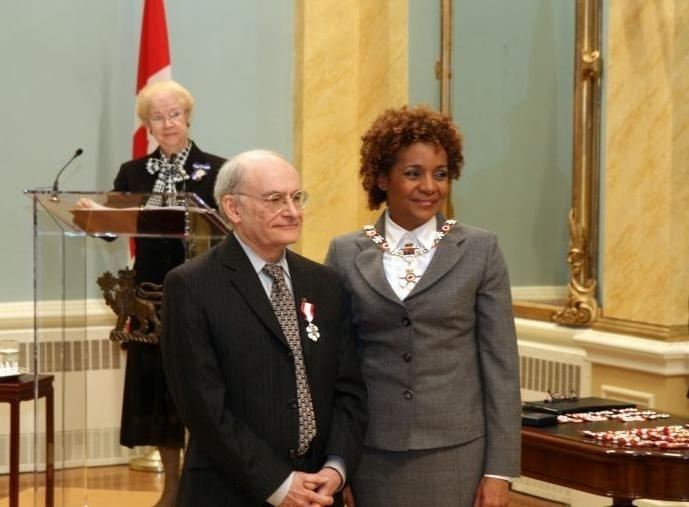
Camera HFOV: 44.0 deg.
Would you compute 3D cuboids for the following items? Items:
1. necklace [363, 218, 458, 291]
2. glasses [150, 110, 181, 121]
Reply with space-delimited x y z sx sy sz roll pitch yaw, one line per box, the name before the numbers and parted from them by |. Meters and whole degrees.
necklace | 0.258 0.010 3.216 0.262 0.247 0.033 -1 -28 4
glasses | -0.918 -0.707 4.398 0.079 0.026 0.084 -5 -18 -9
